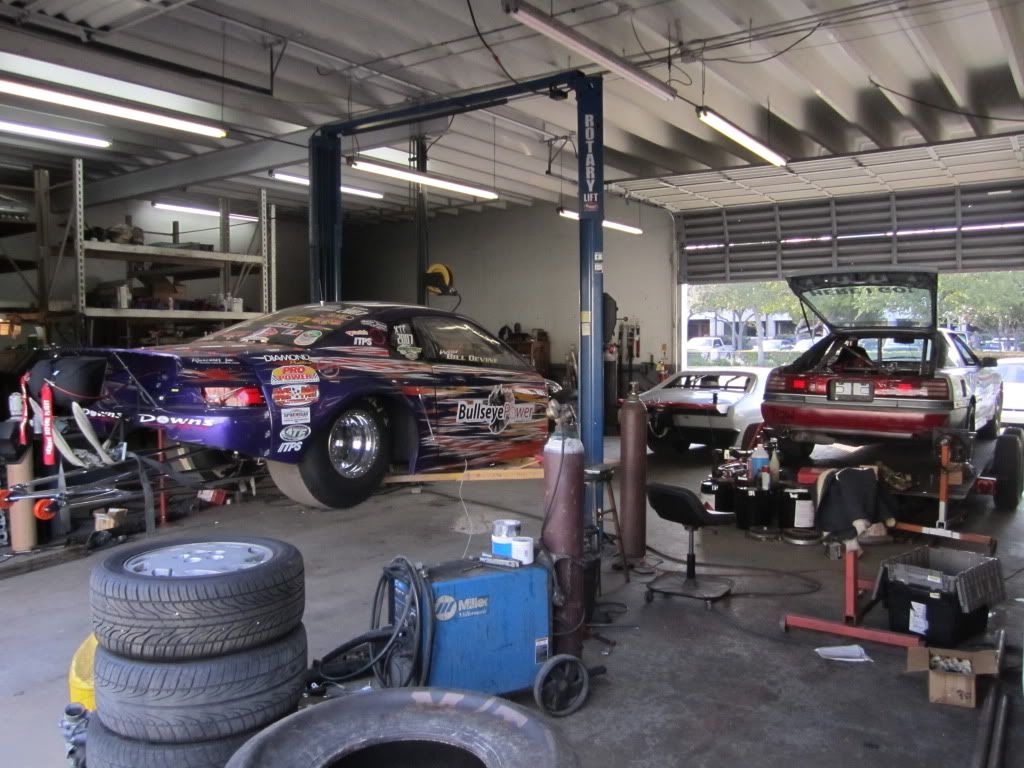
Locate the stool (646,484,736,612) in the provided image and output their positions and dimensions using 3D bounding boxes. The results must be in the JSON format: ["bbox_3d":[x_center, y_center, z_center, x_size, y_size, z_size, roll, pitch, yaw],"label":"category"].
[{"bbox_3d":[1.255,1.072,5.699,0.588,0.852,0.630,6,14,21],"label":"stool"}]

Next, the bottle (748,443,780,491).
[{"bbox_3d":[2.238,0.750,7.210,0.246,0.297,0.372,2,12,7],"label":"bottle"}]

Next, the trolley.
[{"bbox_3d":[-0.108,1.007,4.393,1.286,1.452,0.793,-4,14,-21],"label":"trolley"}]

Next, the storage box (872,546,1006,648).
[{"bbox_3d":[2.709,1.319,5.139,0.673,0.368,0.649,-9,5,-42],"label":"storage box"}]

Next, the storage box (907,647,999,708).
[{"bbox_3d":[2.513,1.658,4.533,0.261,0.292,0.470,21,-23,-37],"label":"storage box"}]

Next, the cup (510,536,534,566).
[{"bbox_3d":[0.061,0.918,4.471,0.143,0.119,0.138,-1,-4,0],"label":"cup"}]

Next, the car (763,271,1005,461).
[{"bbox_3d":[3.999,-0.311,8.476,1.409,1.128,2.701,1,7,38],"label":"car"}]

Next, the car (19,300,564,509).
[{"bbox_3d":[-1.347,0.093,6.590,1.931,1.059,3.789,-1,-4,44],"label":"car"}]

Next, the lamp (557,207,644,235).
[{"bbox_3d":[1.627,-2.917,14.576,1.387,0.472,3.422,2,11,9],"label":"lamp"}]
